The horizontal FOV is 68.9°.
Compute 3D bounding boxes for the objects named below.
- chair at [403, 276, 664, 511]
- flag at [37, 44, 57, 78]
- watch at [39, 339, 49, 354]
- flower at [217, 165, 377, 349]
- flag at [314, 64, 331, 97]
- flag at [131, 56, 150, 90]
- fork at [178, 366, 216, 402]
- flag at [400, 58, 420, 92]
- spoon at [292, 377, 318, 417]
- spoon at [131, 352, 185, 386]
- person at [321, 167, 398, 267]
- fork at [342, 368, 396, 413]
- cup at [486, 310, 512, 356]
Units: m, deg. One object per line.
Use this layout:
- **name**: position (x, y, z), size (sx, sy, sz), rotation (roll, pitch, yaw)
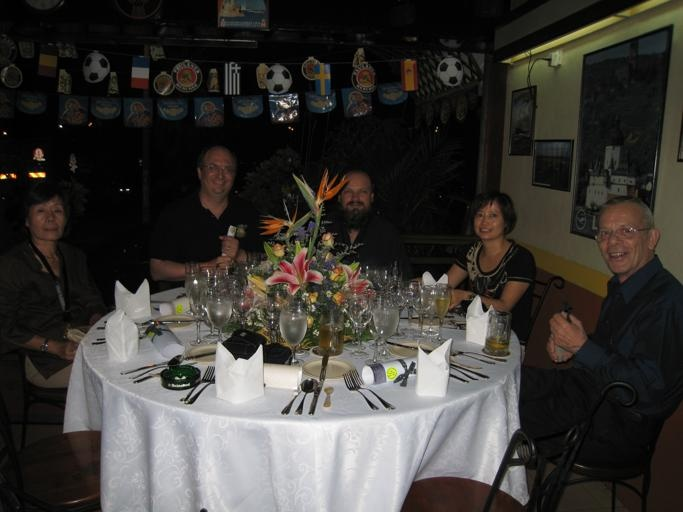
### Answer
- **chair**: position (1.385, 0.866, 3.786), size (1.288, 2.285, 1.237), rotation (3, 14, -4)
- **flag**: position (-3.160, -2.112, 5.354), size (0.183, 0.334, 0.138), rotation (-1, 6, -35)
- **watch**: position (-1.991, 0.611, 3.338), size (0.052, 0.083, 0.084), rotation (2, 25, -9)
- **flower**: position (-0.159, 0.076, 2.954), size (0.654, 1.020, 0.660), rotation (3, 6, 34)
- **flag**: position (-0.213, -1.916, 5.407), size (0.168, 0.345, 0.047), rotation (-1, 4, 0)
- **flag**: position (-2.157, -1.979, 5.333), size (0.182, 0.338, 0.143), rotation (0, 5, -26)
- **fork**: position (-0.680, 0.625, 2.389), size (0.046, 0.031, 0.211), rotation (20, 31, 7)
- **flag**: position (0.722, -1.966, 5.420), size (0.186, 0.370, 0.032), rotation (0, -18, 0)
- **spoon**: position (-0.168, 0.655, 2.299), size (0.043, 0.031, 0.198), rotation (2, 38, 12)
- **spoon**: position (-0.907, 0.554, 2.555), size (0.071, 0.068, 0.368), rotation (14, 18, 25)
- **person**: position (0.146, -0.344, 4.521), size (0.776, 0.864, 0.435), rotation (10, 18, 18)
- **fork**: position (0.122, 0.658, 2.331), size (0.092, 0.052, 0.320), rotation (-10, 34, -28)
- **cup**: position (0.939, 0.451, 2.962), size (0.198, 0.334, 0.223), rotation (-1, -1, 23)
